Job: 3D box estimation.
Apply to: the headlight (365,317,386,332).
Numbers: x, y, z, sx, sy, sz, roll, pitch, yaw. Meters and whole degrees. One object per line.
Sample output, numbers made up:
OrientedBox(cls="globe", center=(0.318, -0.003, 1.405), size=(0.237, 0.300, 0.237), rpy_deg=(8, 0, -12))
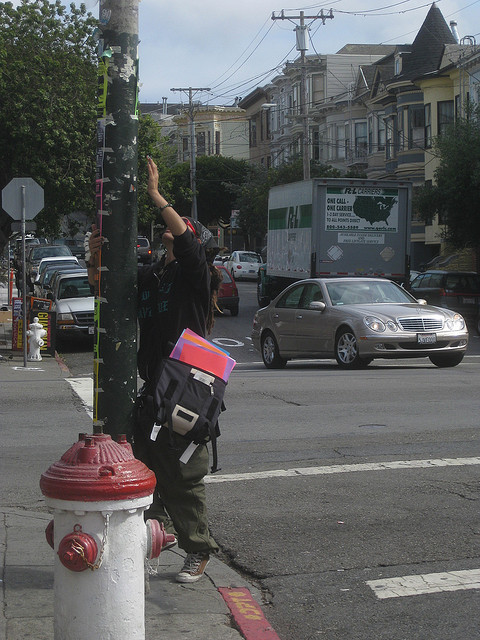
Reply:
OrientedBox(cls="headlight", center=(1.823, 0.071, 13.252), size=(0.261, 0.185, 0.161), rpy_deg=(0, 6, 9))

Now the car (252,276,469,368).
OrientedBox(cls="car", center=(1.568, 0.079, 14.418), size=(1.407, 0.957, 2.831), rpy_deg=(2, -5, -33))

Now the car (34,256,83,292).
OrientedBox(cls="car", center=(-5.317, -1.282, 28.528), size=(1.184, 1.185, 2.163), rpy_deg=(-1, 11, -7))

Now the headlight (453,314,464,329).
OrientedBox(cls="headlight", center=(3.081, 0.033, 13.848), size=(0.151, 0.212, 0.071), rpy_deg=(-19, 5, -39))

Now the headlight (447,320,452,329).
OrientedBox(cls="headlight", center=(2.919, 0.070, 13.614), size=(0.060, 0.118, 0.104), rpy_deg=(0, 6, 13))

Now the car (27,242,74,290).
OrientedBox(cls="car", center=(-6.999, -2.166, 36.173), size=(1.725, 1.606, 3.753), rpy_deg=(0, -1, -13))

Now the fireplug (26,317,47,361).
OrientedBox(cls="fireplug", center=(-3.187, 0.307, 15.269), size=(0.287, 0.670, 0.597), rpy_deg=(-2, 6, -11))

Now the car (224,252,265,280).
OrientedBox(cls="car", center=(0.279, -2.607, 45.659), size=(1.241, 0.982, 2.144), rpy_deg=(0, 9, -10))

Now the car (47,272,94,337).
OrientedBox(cls="car", center=(-3.137, -0.335, 18.701), size=(1.123, 1.102, 2.448), rpy_deg=(-1, 0, -12))

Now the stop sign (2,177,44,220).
OrientedBox(cls="stop sign", center=(-3.088, -1.732, 13.803), size=(0.588, 0.591, 0.429), rpy_deg=(-3, 6, -23))

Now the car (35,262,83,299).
OrientedBox(cls="car", center=(-4.656, -1.065, 24.465), size=(0.847, 0.799, 1.861), rpy_deg=(0, 8, -10))
